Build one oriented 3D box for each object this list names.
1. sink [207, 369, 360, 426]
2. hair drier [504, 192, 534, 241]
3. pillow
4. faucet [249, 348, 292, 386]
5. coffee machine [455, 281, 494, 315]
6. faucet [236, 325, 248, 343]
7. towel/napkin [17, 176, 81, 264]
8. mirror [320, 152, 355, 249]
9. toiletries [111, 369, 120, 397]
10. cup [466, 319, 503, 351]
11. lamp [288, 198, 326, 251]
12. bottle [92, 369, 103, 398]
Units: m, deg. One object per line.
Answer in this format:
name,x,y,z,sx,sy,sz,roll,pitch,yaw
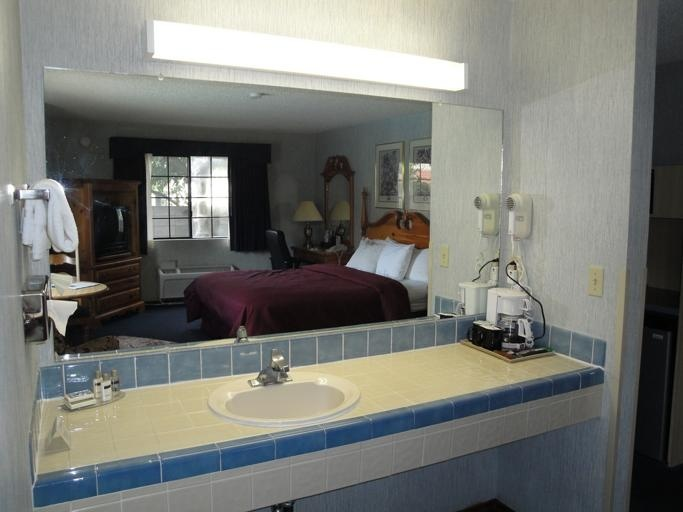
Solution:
sink,-0.220,0.595,2.187,0.593,0.157,0.430,-4,7,-15
hair drier,0.908,-0.203,2.819,0.128,0.238,0.092,3,8,34
pillow,0.238,0.008,2.737,0.287,0.209,0.097,20,2,-13
faucet,-0.287,0.446,2.308,0.173,0.141,0.114,-1,7,-31
coffee machine,0.692,0.219,2.902,0.156,0.243,0.177,0,8,3
faucet,-0.432,0.336,2.454,0.059,0.081,0.060,-4,11,-24
towel/napkin,-0.940,-0.110,1.853,0.157,0.210,0.118,-7,14,-20
mirror,-0.015,-0.264,2.670,0.162,0.461,0.027,-1,28,-3
toiletries,-0.898,0.492,2.191,0.030,0.100,0.038,-5,7,-25
cup,0.721,0.374,2.770,0.108,0.131,0.165,-3,13,-23
lamp,-0.155,-0.151,2.563,0.172,0.274,0.174,8,15,32
bottle,-0.945,0.493,2.151,0.037,0.104,0.044,4,9,39
